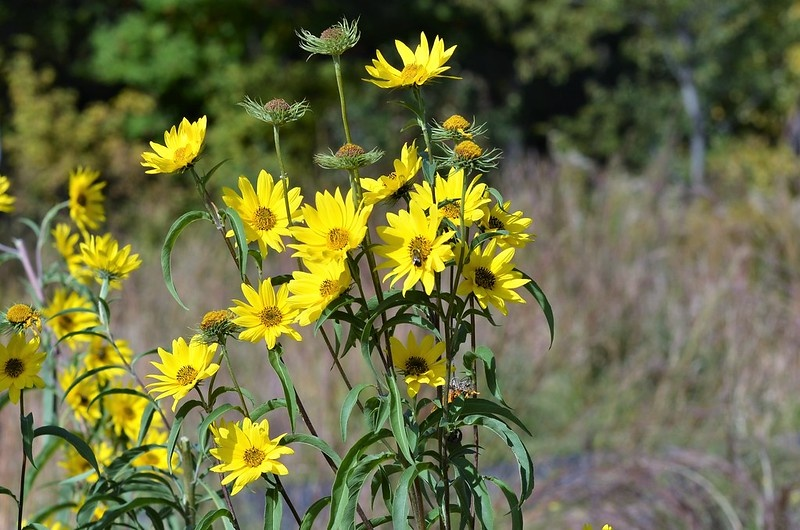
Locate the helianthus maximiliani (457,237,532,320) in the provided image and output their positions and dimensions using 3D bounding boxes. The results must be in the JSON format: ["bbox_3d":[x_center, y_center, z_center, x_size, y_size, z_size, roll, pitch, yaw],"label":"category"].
[{"bbox_3d":[0.407,0.070,5.119,0.321,0.328,0.136,-13,-8,6],"label":"helianthus maximiliani"}]

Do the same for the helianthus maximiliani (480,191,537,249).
[{"bbox_3d":[0.461,-0.173,5.185,0.213,0.212,0.080,-46,5,-21],"label":"helianthus maximiliani"}]

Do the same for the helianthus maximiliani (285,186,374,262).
[{"bbox_3d":[-0.291,-0.159,5.097,0.377,0.317,0.142,-12,-8,0],"label":"helianthus maximiliani"}]

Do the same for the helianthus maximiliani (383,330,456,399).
[{"bbox_3d":[0.102,0.434,5.203,0.239,0.289,0.236,-12,-9,7],"label":"helianthus maximiliani"}]

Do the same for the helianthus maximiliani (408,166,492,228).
[{"bbox_3d":[0.235,-0.293,5.139,0.278,0.265,0.097,-49,-11,-5],"label":"helianthus maximiliani"}]
